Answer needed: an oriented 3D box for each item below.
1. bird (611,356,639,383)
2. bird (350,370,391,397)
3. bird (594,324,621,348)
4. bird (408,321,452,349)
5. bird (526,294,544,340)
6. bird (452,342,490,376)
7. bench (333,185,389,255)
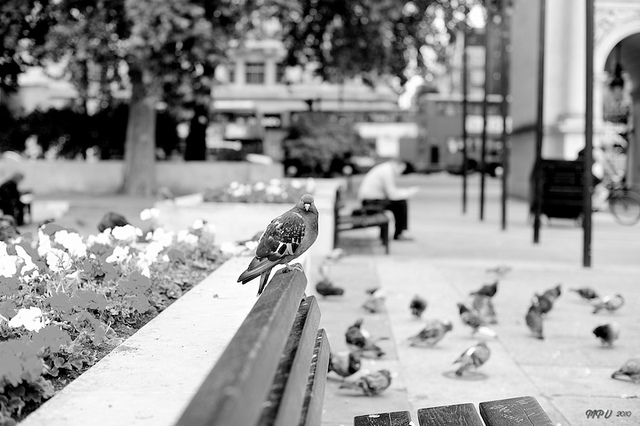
[{"bbox_3d":[2.995,1.499,7.415,0.120,0.225,0.359,13,-20,-26],"label":"bird"},{"bbox_3d":[0.499,1.575,7.116,0.254,0.146,0.202,-4,6,25],"label":"bird"},{"bbox_3d":[3.145,1.325,8.352,0.384,0.275,0.193,-7,10,-41],"label":"bird"},{"bbox_3d":[1.177,1.314,8.328,0.551,0.333,0.235,6,-12,-3],"label":"bird"},{"bbox_3d":[2.394,1.164,8.671,0.226,0.537,0.161,-7,-1,-7],"label":"bird"},{"bbox_3d":[1.471,1.418,7.540,0.337,0.203,0.162,-40,-8,-4],"label":"bird"},{"bbox_3d":[0.714,0.096,14.007,1.023,1.395,1.090,0,4,6],"label":"bench"}]
